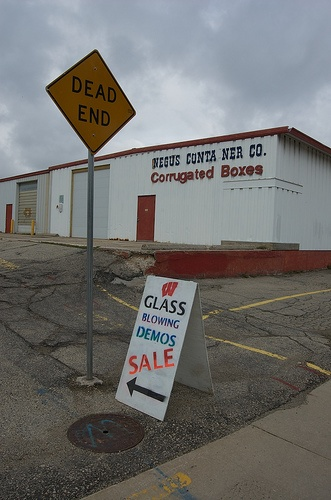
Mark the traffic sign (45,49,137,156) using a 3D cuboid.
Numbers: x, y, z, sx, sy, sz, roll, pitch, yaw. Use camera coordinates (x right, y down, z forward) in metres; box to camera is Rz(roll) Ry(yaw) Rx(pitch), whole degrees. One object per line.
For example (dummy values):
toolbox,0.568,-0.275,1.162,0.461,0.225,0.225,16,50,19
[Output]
traffic sign,-0.655,-1.379,3.421,0.668,0.030,0.801,14,-41,0
